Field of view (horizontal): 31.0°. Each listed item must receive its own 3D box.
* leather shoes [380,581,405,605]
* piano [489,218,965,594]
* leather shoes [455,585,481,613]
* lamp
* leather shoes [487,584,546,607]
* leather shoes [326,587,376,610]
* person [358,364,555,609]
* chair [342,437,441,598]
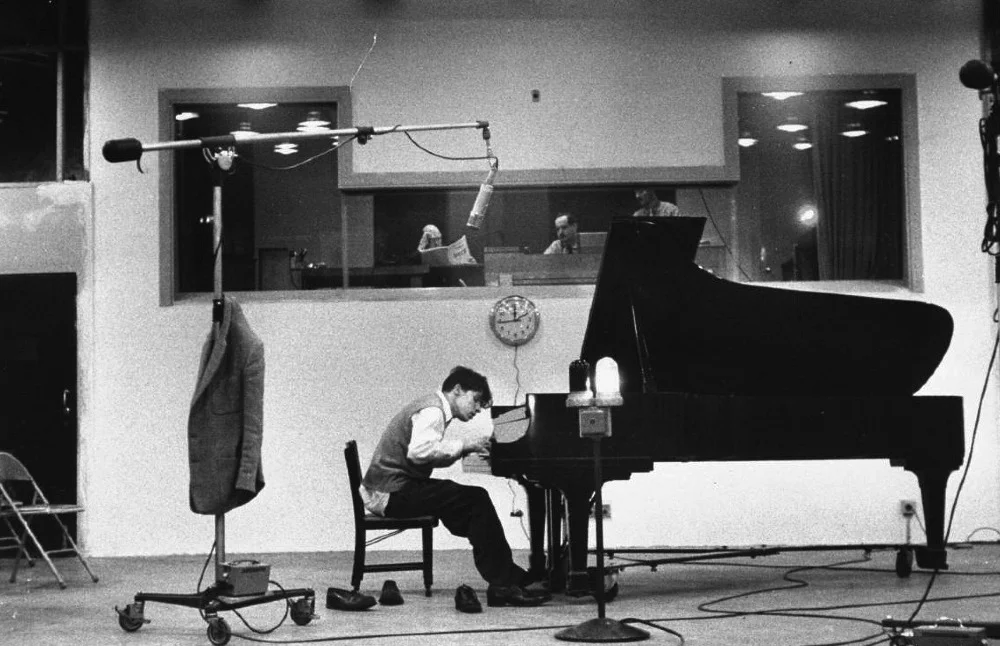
[{"bbox_3d":[-0.852,2.118,14.234,0.192,0.162,0.268,-1,5,-4],"label":"leather shoes"},{"bbox_3d":[1.894,0.626,14.833,3.842,2.671,2.384,0,0,9],"label":"piano"},{"bbox_3d":[-0.237,2.126,13.933,0.208,0.186,0.256,-1,6,-10],"label":"leather shoes"},{"bbox_3d":[0.762,1.269,13.363,0.663,2.061,0.908,0,6,5],"label":"lamp"},{"bbox_3d":[0.110,2.128,14.109,0.491,0.206,0.174,-1,-5,-3],"label":"leather shoes"},{"bbox_3d":[-1.179,2.145,14.023,0.296,0.108,0.166,-3,-8,19],"label":"leather shoes"},{"bbox_3d":[-0.389,1.271,14.238,1.427,1.801,0.417,2,6,21],"label":"person"},{"bbox_3d":[-0.860,1.594,14.636,0.803,1.183,0.775,-2,-8,6],"label":"chair"}]
